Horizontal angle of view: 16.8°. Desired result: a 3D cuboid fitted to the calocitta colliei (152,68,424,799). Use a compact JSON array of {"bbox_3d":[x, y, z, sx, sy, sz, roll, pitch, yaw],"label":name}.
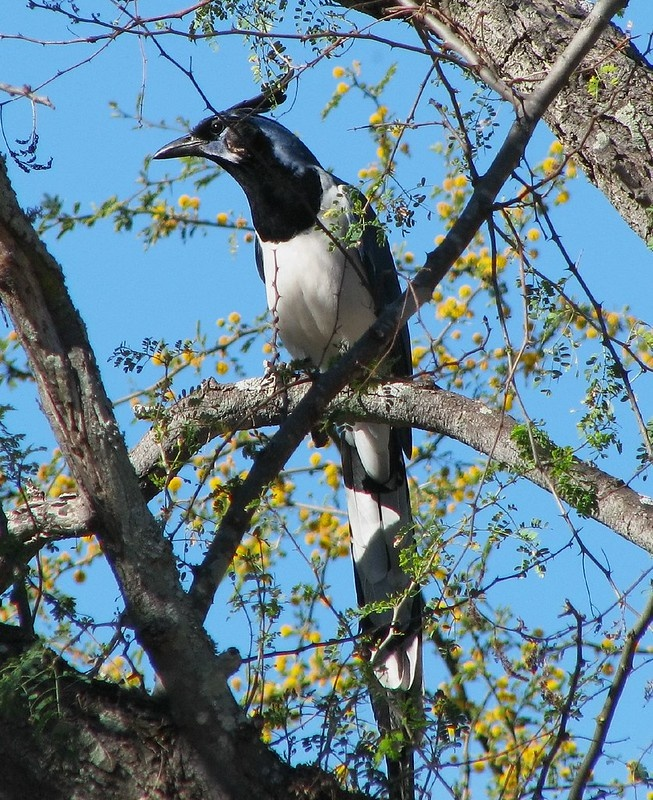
[{"bbox_3d":[-0.037,0.167,6.935,0.504,0.767,2.486,-10,-68,13],"label":"calocitta colliei"}]
